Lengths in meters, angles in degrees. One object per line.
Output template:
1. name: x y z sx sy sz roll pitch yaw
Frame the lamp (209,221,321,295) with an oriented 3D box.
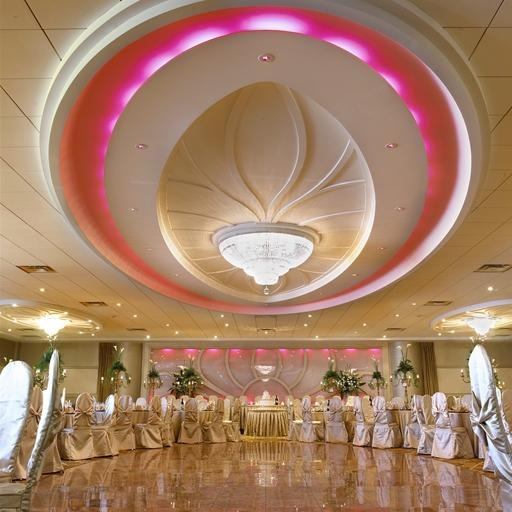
1. lamp: 0.312 0.161 7.476 1.941 0.837 1.967 -16 -17 32
